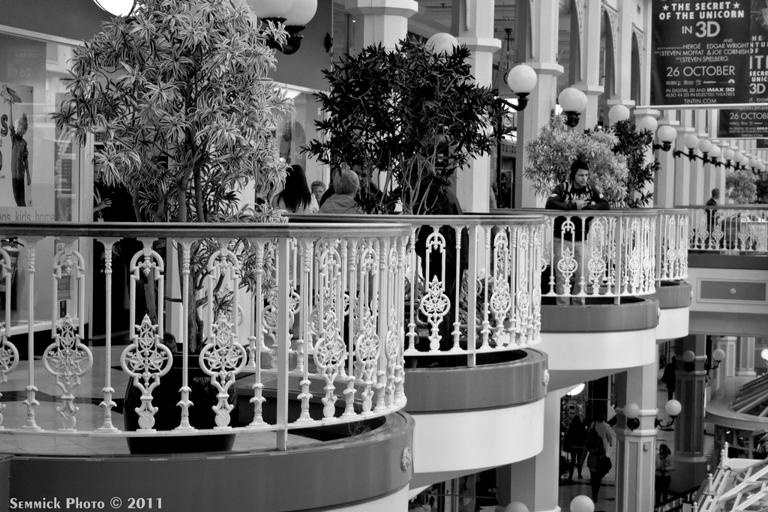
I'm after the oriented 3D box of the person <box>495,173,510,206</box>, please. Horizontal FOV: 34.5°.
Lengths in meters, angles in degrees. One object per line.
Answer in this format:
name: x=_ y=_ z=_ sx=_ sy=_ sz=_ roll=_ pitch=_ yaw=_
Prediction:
person: x=2.613 y=-1.475 z=28.012 sx=0.357 sy=0.809 sz=0.407 roll=-1 pitch=-1 yaw=11
